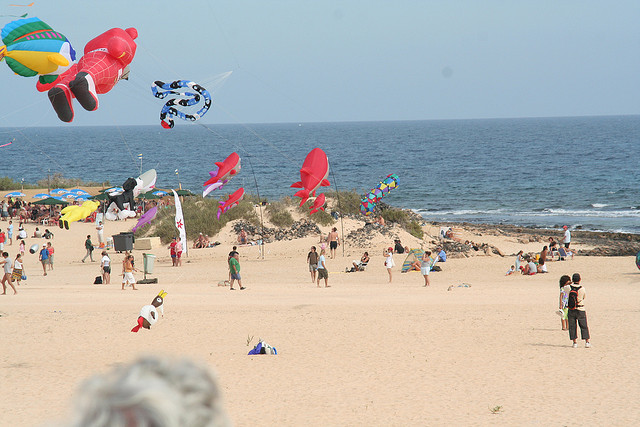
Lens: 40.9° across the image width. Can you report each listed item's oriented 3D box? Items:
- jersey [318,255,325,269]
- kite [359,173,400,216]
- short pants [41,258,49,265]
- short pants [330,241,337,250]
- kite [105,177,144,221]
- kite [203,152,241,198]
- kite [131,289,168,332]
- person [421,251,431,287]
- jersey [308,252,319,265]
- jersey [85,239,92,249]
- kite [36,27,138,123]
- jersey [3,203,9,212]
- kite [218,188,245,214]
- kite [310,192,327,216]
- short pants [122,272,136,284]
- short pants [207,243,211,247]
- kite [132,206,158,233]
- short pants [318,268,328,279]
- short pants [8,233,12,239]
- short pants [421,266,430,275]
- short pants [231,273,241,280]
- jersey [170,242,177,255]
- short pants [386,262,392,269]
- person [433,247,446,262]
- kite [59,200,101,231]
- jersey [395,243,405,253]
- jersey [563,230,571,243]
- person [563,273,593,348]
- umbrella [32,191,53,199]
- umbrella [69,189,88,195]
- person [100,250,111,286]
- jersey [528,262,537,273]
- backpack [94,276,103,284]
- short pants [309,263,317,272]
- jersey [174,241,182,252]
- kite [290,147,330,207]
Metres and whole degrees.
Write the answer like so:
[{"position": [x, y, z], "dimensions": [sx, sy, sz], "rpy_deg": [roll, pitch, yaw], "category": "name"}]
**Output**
[{"position": [0.009, 2.191, 38.617], "dimensions": [0.271, 0.574, 0.241], "rpy_deg": [1, 5, 4], "category": "jersey"}, {"position": [3.484, -1.610, 52.148], "dimensions": [0.957, 3.117, 1.259], "rpy_deg": [44, 16, 4], "category": "kite"}, {"position": [-13.491, 2.416, 42.003], "dimensions": [0.442, 0.311, 0.237], "rpy_deg": [-1, -3, -26], "category": "short pants"}, {"position": [0.680, 1.670, 45.513], "dimensions": [0.380, 0.433, 0.380], "rpy_deg": [0, 5, -4], "category": "short pants"}, {"position": [-9.604, -0.755, 41.578], "dimensions": [1.412, 2.265, 1.546], "rpy_deg": [3, 8, 40], "category": "kite"}, {"position": [-5.237, -2.048, 44.593], "dimensions": [2.839, 1.350, 1.685], "rpy_deg": [-36, 16, -11], "category": "kite"}, {"position": [-6.478, 3.718, 32.997], "dimensions": [0.822, 1.502, 1.519], "rpy_deg": [3, 5, 22], "category": "kite"}, {"position": [4.763, 2.501, 38.894], "dimensions": [0.416, 1.514, 0.989], "rpy_deg": [1, 5, 6], "category": "person"}, {"position": [-0.360, 2.046, 38.976], "dimensions": [0.651, 0.640, 0.378], "rpy_deg": [1, -6, -5], "category": "jersey"}, {"position": [-12.330, 1.627, 45.597], "dimensions": [0.323, 0.519, 0.726], "rpy_deg": [0, 5, -15], "category": "jersey"}, {"position": [-8.921, -5.977, 34.301], "dimensions": [3.557, 2.023, 5.269], "rpy_deg": [5, 40, 27], "category": "kite"}, {"position": [-21.333, -0.405, 58.067], "dimensions": [0.200, 0.663, 0.553], "rpy_deg": [2, 4, 24], "category": "jersey"}, {"position": [-4.801, -0.784, 46.714], "dimensions": [1.210, 1.146, 2.486], "rpy_deg": [0, 5, -5], "category": "kite"}, {"position": [-0.137, -0.671, 45.318], "dimensions": [0.591, 0.590, 1.556], "rpy_deg": [8, 30, 10], "category": "kite"}, {"position": [-8.430, 2.800, 37.860], "dimensions": [0.732, 0.634, 0.396], "rpy_deg": [1, -1, -1], "category": "short pants"}, {"position": [-6.462, 1.822, 49.392], "dimensions": [0.206, 0.187, 0.048], "rpy_deg": [-1, -5, -34], "category": "short pants"}, {"position": [-10.563, 0.431, 51.614], "dimensions": [0.480, 0.418, 1.832], "rpy_deg": [34, 67, 32], "category": "kite"}, {"position": [0.072, 2.722, 38.760], "dimensions": [0.492, 0.530, 0.323], "rpy_deg": [9, 27, 22], "category": "short pants"}, {"position": [-18.259, 1.332, 50.442], "dimensions": [0.223, 0.364, 0.377], "rpy_deg": [-1, 0, 14], "category": "short pants"}, {"position": [4.717, 2.581, 38.655], "dimensions": [0.521, 0.464, 0.299], "rpy_deg": [0, -3, 8], "category": "short pants"}, {"position": [-3.740, 2.804, 37.824], "dimensions": [0.413, 0.373, 0.226], "rpy_deg": [6, 20, 12], "category": "short pants"}, {"position": [-7.441, 1.778, 43.566], "dimensions": [0.292, 0.590, 0.361], "rpy_deg": [0, 5, -14], "category": "jersey"}, {"position": [3.152, 2.370, 39.574], "dimensions": [0.261, 0.266, 0.378], "rpy_deg": [1, 5, 4], "category": "short pants"}, {"position": [6.157, 2.187, 44.335], "dimensions": [0.667, 0.755, 0.567], "rpy_deg": [1, -2, 7], "category": "person"}, {"position": [-11.875, 0.004, 42.674], "dimensions": [1.912, 0.637, 1.373], "rpy_deg": [-30, 22, -14], "category": "kite"}, {"position": [4.277, 1.836, 46.488], "dimensions": [0.481, 0.493, 0.640], "rpy_deg": [1, 5, 2], "category": "jersey"}, {"position": [13.549, 1.252, 47.348], "dimensions": [0.315, 0.728, 0.729], "rpy_deg": [2, 5, 12], "category": "jersey"}, {"position": [9.528, 3.587, 31.705], "dimensions": [0.955, 2.598, 0.856], "rpy_deg": [-3, 1, 29], "category": "person"}, {"position": [-18.795, -1.180, 57.550], "dimensions": [0.929, 0.350, 0.915], "rpy_deg": [2, 4, 15], "category": "umbrella"}, {"position": [-16.617, -1.452, 59.099], "dimensions": [0.842, 0.263, 0.826], "rpy_deg": [3, 1, -31], "category": "umbrella"}, {"position": [-9.915, 2.478, 39.487], "dimensions": [0.380, 1.516, 1.451], "rpy_deg": [0, 5, -13], "category": "person"}, {"position": [9.939, 2.548, 40.644], "dimensions": [0.485, 0.583, 0.343], "rpy_deg": [-3, -11, -7], "category": "jersey"}, {"position": [-10.187, 3.064, 39.491], "dimensions": [0.324, 0.292, 0.074], "rpy_deg": [5, -9, -1], "category": "backpack"}, {"position": [-0.367, 2.448, 38.958], "dimensions": [0.269, 0.464, 0.356], "rpy_deg": [-1, 4, 1], "category": "short pants"}, {"position": [-7.224, 1.713, 43.699], "dimensions": [0.314, 0.519, 0.404], "rpy_deg": [0, 0, 6], "category": "jersey"}, {"position": [-0.429, -1.806, 42.751], "dimensions": [1.635, 2.888, 2.141], "rpy_deg": [1, 5, -1], "category": "kite"}]
